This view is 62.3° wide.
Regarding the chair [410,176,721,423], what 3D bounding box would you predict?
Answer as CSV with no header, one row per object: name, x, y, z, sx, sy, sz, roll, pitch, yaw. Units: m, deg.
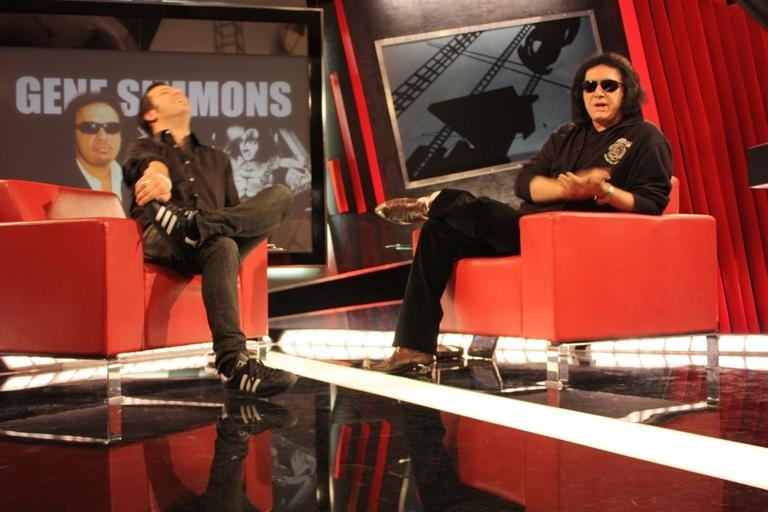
chair,0.957,0.158,2.857,0.900,0.917,1.217,3,-4,-31

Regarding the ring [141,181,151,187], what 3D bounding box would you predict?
ring,-0.943,-0.289,2.523,0.029,0.020,0.017,-3,12,-12

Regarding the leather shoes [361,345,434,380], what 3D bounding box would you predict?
leather shoes,0.040,0.488,3.008,0.393,0.156,0.125,6,0,4

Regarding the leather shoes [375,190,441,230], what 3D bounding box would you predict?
leather shoes,0.130,-0.257,3.402,0.329,0.112,0.185,-17,-12,39

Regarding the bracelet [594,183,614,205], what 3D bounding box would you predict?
bracelet,0.927,-0.263,2.688,0.050,0.071,0.077,44,4,3

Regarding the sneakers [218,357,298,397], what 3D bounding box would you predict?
sneakers,-0.483,0.462,2.497,0.330,0.132,0.118,0,32,17
